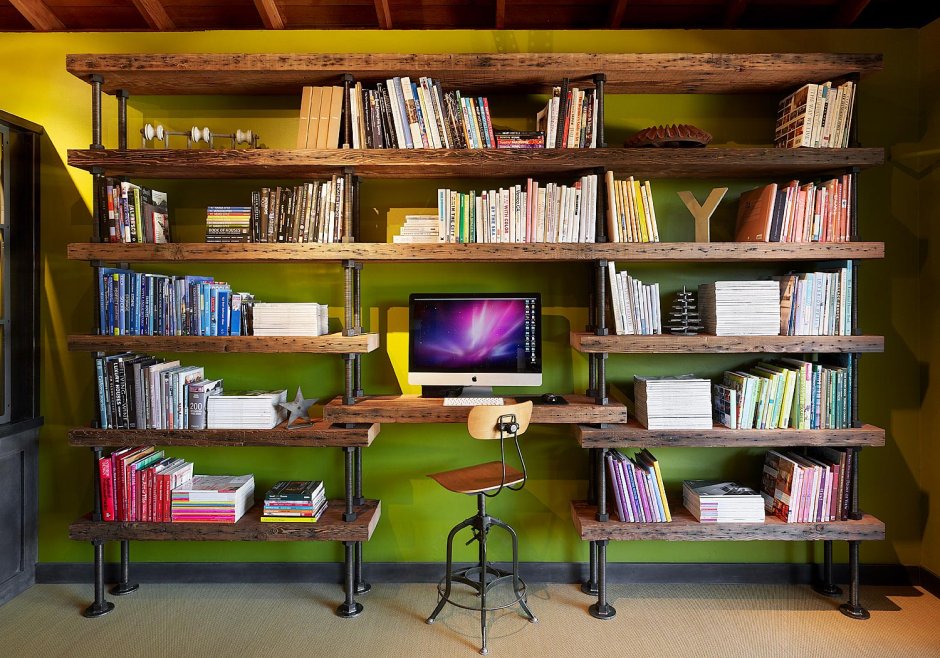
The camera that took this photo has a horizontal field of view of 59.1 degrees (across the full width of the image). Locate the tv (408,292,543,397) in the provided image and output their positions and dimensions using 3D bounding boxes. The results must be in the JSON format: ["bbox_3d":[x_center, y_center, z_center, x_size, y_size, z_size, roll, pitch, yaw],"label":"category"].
[{"bbox_3d":[0.028,0.073,5.150,1.153,0.528,0.277,0,-7,0],"label":"tv"}]

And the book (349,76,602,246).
[{"bbox_3d":[0.075,-1.045,5.028,1.827,0.586,0.451,1,-1,-4],"label":"book"}]
